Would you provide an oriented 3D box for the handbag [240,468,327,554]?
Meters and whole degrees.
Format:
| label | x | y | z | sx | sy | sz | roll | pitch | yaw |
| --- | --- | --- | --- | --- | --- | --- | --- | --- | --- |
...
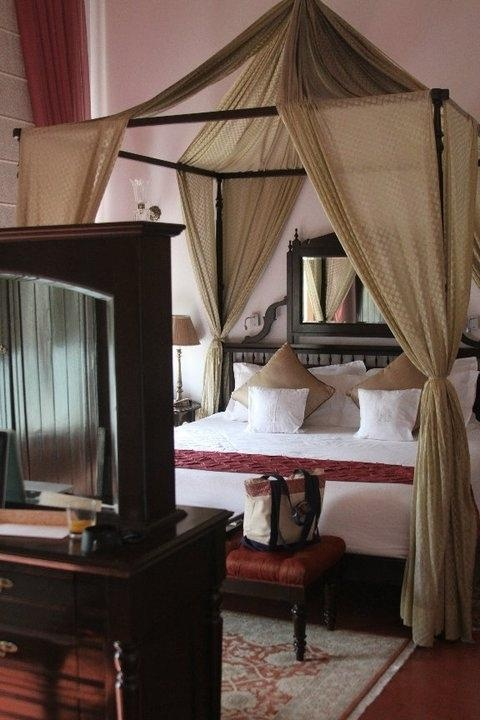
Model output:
| label | x | y | z | sx | sy | sz | roll | pitch | yaw |
| --- | --- | --- | --- | --- | --- | --- | --- | --- | --- |
| handbag | 0.187 | 0.628 | 2.716 | 0.361 | 0.332 | 0.233 | -3 | 6 | -22 |

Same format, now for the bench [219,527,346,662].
| label | x | y | z | sx | sy | sz | roll | pitch | yaw |
| --- | --- | --- | --- | --- | --- | --- | --- | --- | --- |
| bench | 0.150 | 0.969 | 2.713 | 0.482 | 0.383 | 0.504 | -1 | -3 | 23 |

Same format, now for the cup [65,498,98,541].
| label | x | y | z | sx | sy | sz | roll | pitch | yaw |
| --- | --- | --- | --- | --- | --- | --- | --- | --- | --- |
| cup | -0.352 | 0.356 | 1.433 | 0.064 | 0.072 | 0.082 | 0 | -9 | 5 |

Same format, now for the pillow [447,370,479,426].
| label | x | y | z | sx | sy | sz | roll | pitch | yaw |
| --- | --- | --- | --- | --- | --- | --- | --- | --- | --- |
| pillow | 1.526 | 0.217 | 4.305 | 0.122 | 0.439 | 0.373 | 0 | -5 | 40 |

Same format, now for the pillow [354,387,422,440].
| label | x | y | z | sx | sy | sz | roll | pitch | yaw |
| --- | --- | --- | --- | --- | --- | --- | --- | --- | --- |
| pillow | 0.943 | 0.341 | 4.012 | 0.308 | 0.257 | 0.114 | -2 | -9 | 35 |

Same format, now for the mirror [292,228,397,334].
| label | x | y | z | sx | sy | sz | roll | pitch | yaw |
| --- | --- | --- | --- | --- | --- | --- | --- | --- | --- |
| mirror | 0.651 | -0.483 | 4.035 | 0.894 | 0.877 | 0.047 | 0 | 4 | 28 |

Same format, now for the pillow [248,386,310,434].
| label | x | y | z | sx | sy | sz | roll | pitch | yaw |
| --- | --- | --- | --- | --- | --- | --- | --- | --- | --- |
| pillow | 0.265 | 0.348 | 4.385 | 0.268 | 0.249 | 0.098 | 2 | -28 | 9 |
